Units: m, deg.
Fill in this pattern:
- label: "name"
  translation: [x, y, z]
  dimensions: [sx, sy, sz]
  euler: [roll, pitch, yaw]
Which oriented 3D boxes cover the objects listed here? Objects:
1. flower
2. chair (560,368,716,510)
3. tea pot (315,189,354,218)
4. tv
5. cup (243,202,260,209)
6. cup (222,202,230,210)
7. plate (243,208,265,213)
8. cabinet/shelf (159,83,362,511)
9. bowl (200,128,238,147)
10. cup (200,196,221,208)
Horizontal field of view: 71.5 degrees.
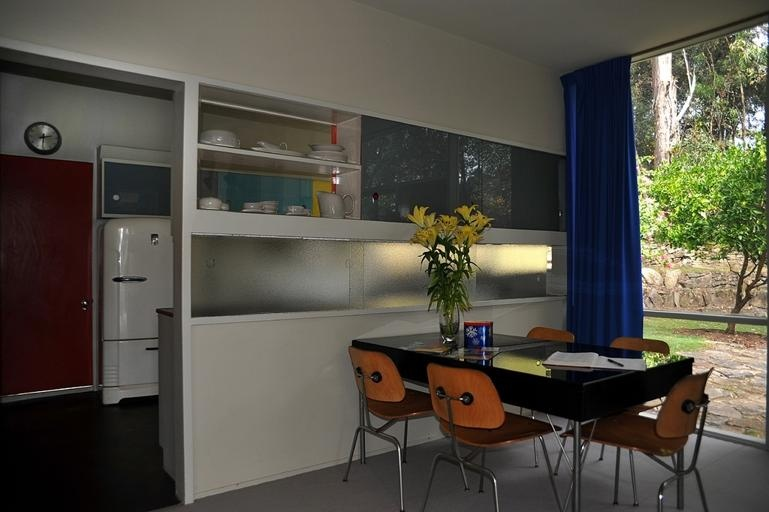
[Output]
- label: "flower"
  translation: [0.555, 0.069, 4.978]
  dimensions: [0.663, 1.071, 0.898]
  euler: [0, 7, 2]
- label: "chair"
  translation: [1.998, 1.383, 4.003]
  dimensions: [1.095, 1.170, 0.578]
  euler: [-3, 8, -23]
- label: "tea pot"
  translation: [-0.460, -0.466, 4.845]
  dimensions: [0.332, 0.231, 0.198]
  euler: [1, -5, -31]
- label: "tv"
  translation: [-3.228, -0.862, 6.824]
  dimensions: [0.871, 0.811, 0.465]
  euler: [1, -2, -33]
- label: "cup"
  translation: [-1.144, -0.434, 4.538]
  dimensions: [0.126, 0.046, 0.026]
  euler: [-2, 7, -16]
- label: "cup"
  translation: [-1.331, -0.416, 4.448]
  dimensions: [0.027, 0.063, 0.069]
  euler: [6, 10, 41]
- label: "plate"
  translation: [-1.126, -0.386, 4.531]
  dimensions: [0.179, 0.040, 0.036]
  euler: [-4, 8, -26]
- label: "cabinet/shelf"
  translation: [-0.991, 0.227, 4.625]
  dimensions: [1.701, 3.348, 0.549]
  euler: [-4, 8, -26]
- label: "bowl"
  translation: [-1.384, -0.948, 4.430]
  dimensions: [0.190, 0.069, 0.173]
  euler: [1, 0, 0]
- label: "cup"
  translation: [-1.441, -0.439, 4.372]
  dimensions: [0.113, 0.064, 0.089]
  euler: [4, 2, 35]
